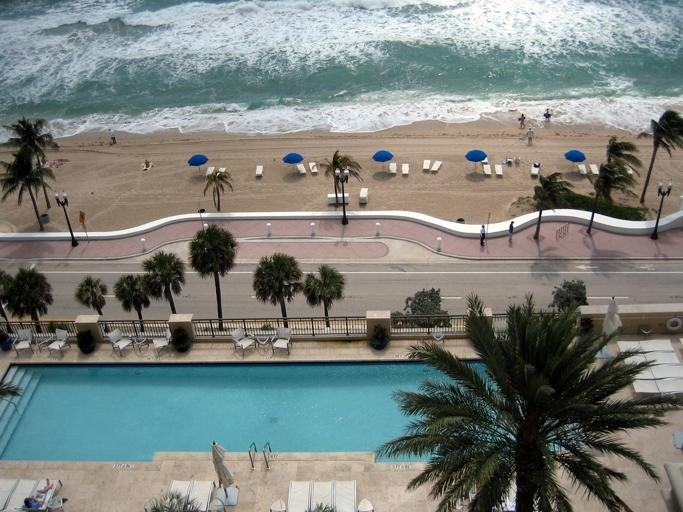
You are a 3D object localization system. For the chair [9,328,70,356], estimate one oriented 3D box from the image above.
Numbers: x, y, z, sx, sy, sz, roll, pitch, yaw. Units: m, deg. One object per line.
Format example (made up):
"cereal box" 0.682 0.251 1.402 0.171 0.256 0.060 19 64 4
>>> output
"chair" -13.596 3.783 24.183 2.473 1.022 0.975 -5 26 1

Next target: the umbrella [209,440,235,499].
"umbrella" -3.980 6.931 17.848 0.494 2.495 0.873 -14 28 -17

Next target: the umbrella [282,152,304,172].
"umbrella" -3.998 -8.100 45.529 1.514 1.557 1.518 9 53 9

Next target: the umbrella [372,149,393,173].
"umbrella" 3.491 -8.210 45.000 1.421 1.391 1.314 0 46 4

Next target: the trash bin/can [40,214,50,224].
"trash bin/can" -22.517 -2.964 40.769 0.736 0.764 0.711 4 22 -10

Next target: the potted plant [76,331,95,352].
"potted plant" -11.468 3.804 23.959 0.698 0.831 0.664 -5 31 -9

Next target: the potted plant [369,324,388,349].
"potted plant" 1.683 3.602 23.528 0.931 1.144 0.924 -4 42 1

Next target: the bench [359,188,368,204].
"bench" 1.705 -4.660 41.074 0.665 0.501 1.181 2 42 7

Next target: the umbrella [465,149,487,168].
"umbrella" 11.235 -8.186 44.498 1.474 1.490 2.068 2 26 15

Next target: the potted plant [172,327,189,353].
"potted plant" -7.197 3.710 23.789 0.726 1.067 0.536 -11 27 -10
